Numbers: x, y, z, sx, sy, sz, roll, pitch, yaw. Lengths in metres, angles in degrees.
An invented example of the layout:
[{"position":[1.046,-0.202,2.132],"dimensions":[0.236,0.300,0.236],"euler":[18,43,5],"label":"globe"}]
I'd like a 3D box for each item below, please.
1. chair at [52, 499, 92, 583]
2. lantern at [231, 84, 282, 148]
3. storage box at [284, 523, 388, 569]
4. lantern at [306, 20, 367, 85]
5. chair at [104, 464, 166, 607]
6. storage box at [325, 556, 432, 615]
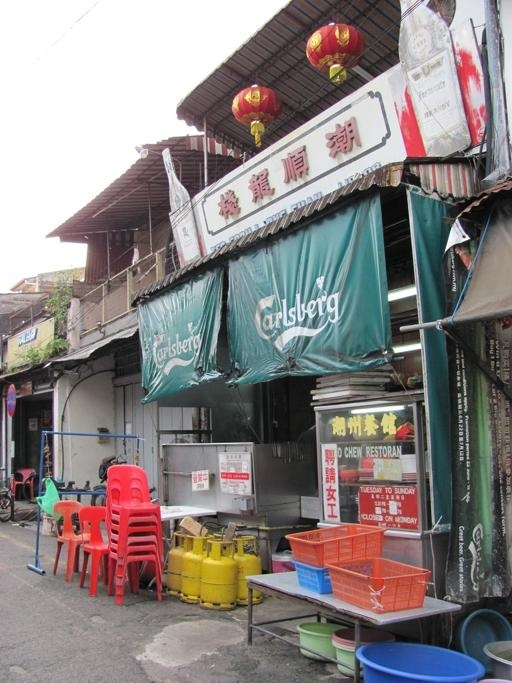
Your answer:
[{"position":[-2.413,2.550,7.417],"dimensions":[0.437,0.783,0.465],"euler":[-7,-14,23],"label":"chair"},{"position":[0.006,-3.033,7.430],"dimensions":[0.611,0.685,0.541],"euler":[-5,-10,15],"label":"lantern"},{"position":[0.602,1.485,4.218],"dimensions":[0.624,0.211,0.477],"euler":[-3,-9,-21],"label":"storage box"},{"position":[0.830,-3.075,6.089],"dimensions":[0.581,0.493,0.490],"euler":[-5,-10,11],"label":"lantern"},{"position":[-1.363,2.103,6.450],"dimensions":[0.600,1.419,0.890],"euler":[0,-10,-15],"label":"chair"},{"position":[0.797,1.544,3.687],"dimensions":[0.505,0.220,0.651],"euler":[2,-11,-22],"label":"storage box"}]
